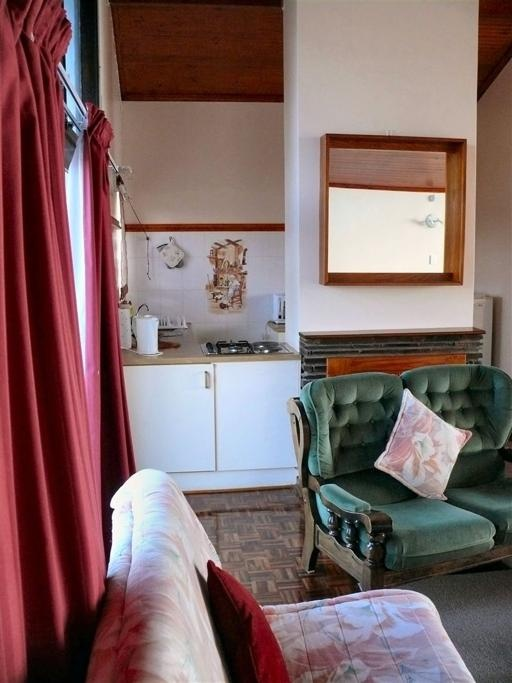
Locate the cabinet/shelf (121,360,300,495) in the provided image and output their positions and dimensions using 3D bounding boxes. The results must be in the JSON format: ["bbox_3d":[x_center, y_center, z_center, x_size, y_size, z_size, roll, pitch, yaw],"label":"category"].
[{"bbox_3d":[-0.269,0.486,3.740,1.109,0.921,0.436,-1,16,-5],"label":"cabinet/shelf"}]
